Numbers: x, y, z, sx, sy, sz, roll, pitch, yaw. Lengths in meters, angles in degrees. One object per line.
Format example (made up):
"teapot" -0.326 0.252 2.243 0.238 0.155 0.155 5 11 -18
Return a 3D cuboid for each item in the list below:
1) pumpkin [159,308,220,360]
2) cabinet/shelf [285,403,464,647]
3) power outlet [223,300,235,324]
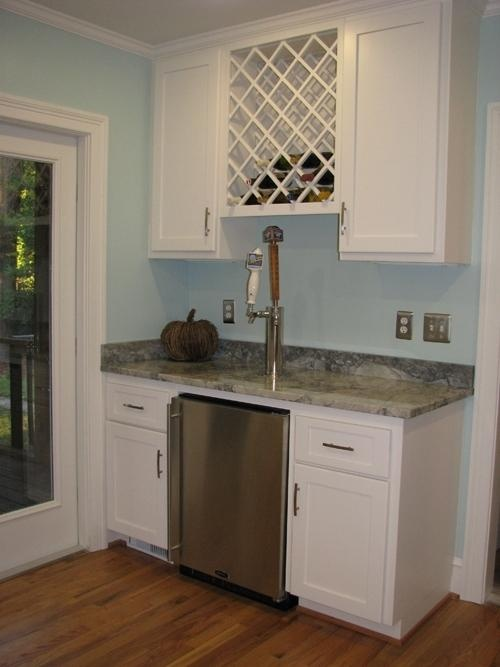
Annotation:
"pumpkin" -0.289 0.002 2.677 0.250 0.253 0.256 1 9 6
"cabinet/shelf" 0.418 0.586 1.927 0.407 0.711 0.496 2 4 31
"power outlet" -0.105 -0.112 2.769 0.076 0.121 0.014 1 1 45
